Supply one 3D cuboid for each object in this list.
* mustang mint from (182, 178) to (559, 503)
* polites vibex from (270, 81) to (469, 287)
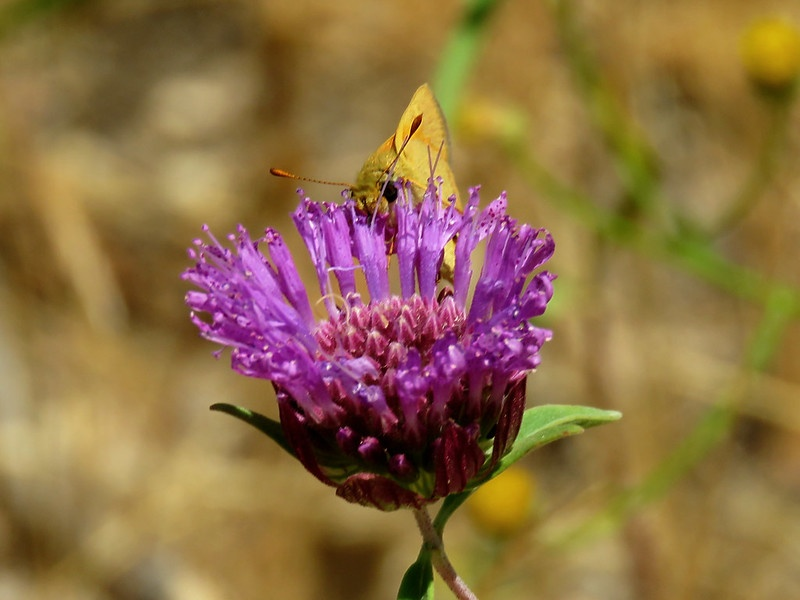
[{"bbox_3d":[-0.088,0.080,3.666,0.795,1.125,1.287,-3,81,-2],"label":"mustang mint"},{"bbox_3d":[-0.143,-0.418,3.765,0.657,0.571,0.710,-6,97,-5],"label":"polites vibex"}]
